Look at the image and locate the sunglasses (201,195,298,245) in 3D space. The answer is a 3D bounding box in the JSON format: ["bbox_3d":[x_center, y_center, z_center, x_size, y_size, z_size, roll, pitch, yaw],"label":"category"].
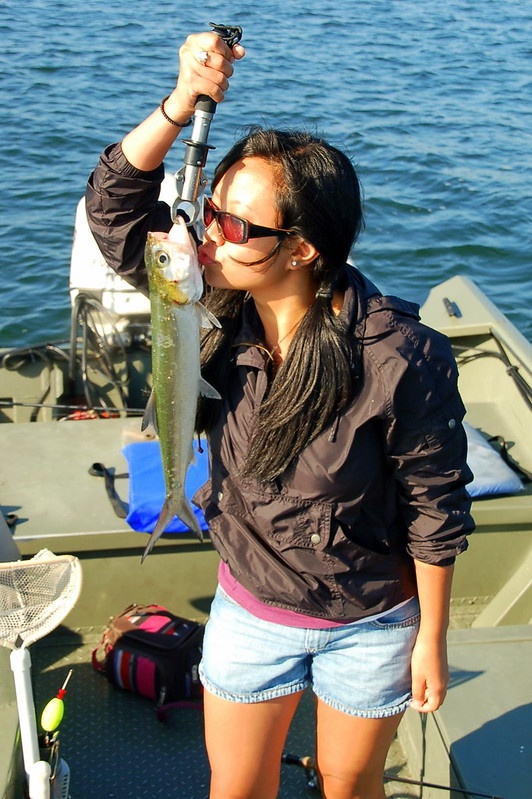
[{"bbox_3d":[-0.044,-0.443,1.922,0.185,0.051,0.172,1,26,-33],"label":"sunglasses"}]

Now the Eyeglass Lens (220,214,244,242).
[{"bbox_3d":[-0.087,-0.438,1.915,0.024,0.069,0.104,-11,33,-38],"label":"Eyeglass Lens"}]

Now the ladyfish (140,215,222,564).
[{"bbox_3d":[-0.191,0.009,2.153,0.295,1.013,0.221,8,26,11],"label":"ladyfish"}]
